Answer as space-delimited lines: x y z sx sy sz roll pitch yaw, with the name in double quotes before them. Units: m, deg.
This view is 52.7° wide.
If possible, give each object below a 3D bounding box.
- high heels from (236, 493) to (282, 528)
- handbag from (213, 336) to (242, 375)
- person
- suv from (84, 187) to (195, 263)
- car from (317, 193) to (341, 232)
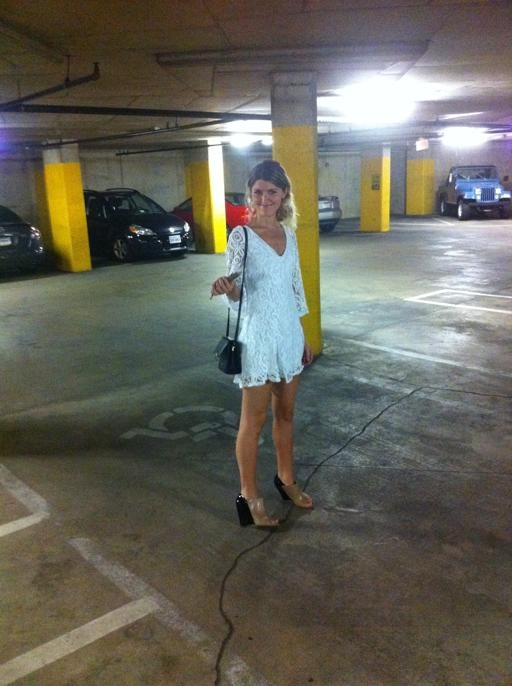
"high heels" 0.052 0.821 2.552 0.281 0.192 0.101 -1 7 4
"handbag" -0.129 0.055 2.373 0.116 0.159 0.096 -2 13 2
"person" 0.064 0.012 2.528 0.369 1.759 0.627 2 14 21
"suv" -3.015 -3.061 13.485 3.173 1.416 1.619 15 24 37
"car" 2.596 -4.580 18.199 0.703 1.188 1.634 -1 12 8
